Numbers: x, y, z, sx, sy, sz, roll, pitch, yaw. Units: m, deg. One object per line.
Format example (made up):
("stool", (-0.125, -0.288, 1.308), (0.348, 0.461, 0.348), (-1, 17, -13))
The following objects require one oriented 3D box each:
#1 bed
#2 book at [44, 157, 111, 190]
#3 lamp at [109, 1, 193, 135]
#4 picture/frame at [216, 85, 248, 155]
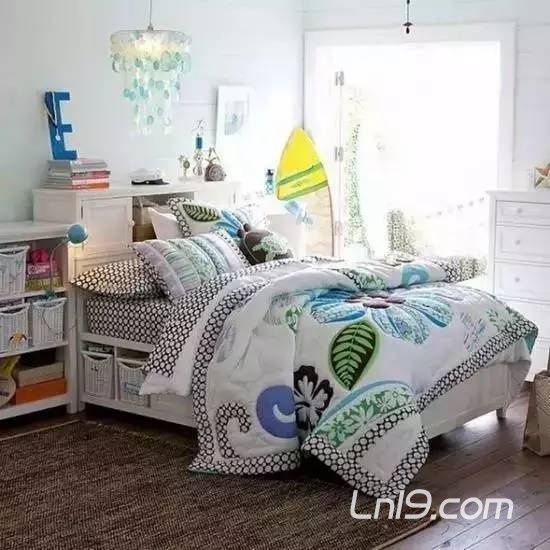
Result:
("bed", (0.100, 0.198, 1.912), (1.143, 0.424, 0.999), (4, 10, 29))
("book", (-1.145, -0.547, 2.707), (0.376, 0.192, 0.189), (0, -2, 5))
("lamp", (-0.690, -1.060, 2.687), (0.421, 0.519, 0.288), (1, -3, -17))
("picture/frame", (-0.354, -1.267, 3.955), (0.083, 0.556, 0.358), (-2, -4, 39))
